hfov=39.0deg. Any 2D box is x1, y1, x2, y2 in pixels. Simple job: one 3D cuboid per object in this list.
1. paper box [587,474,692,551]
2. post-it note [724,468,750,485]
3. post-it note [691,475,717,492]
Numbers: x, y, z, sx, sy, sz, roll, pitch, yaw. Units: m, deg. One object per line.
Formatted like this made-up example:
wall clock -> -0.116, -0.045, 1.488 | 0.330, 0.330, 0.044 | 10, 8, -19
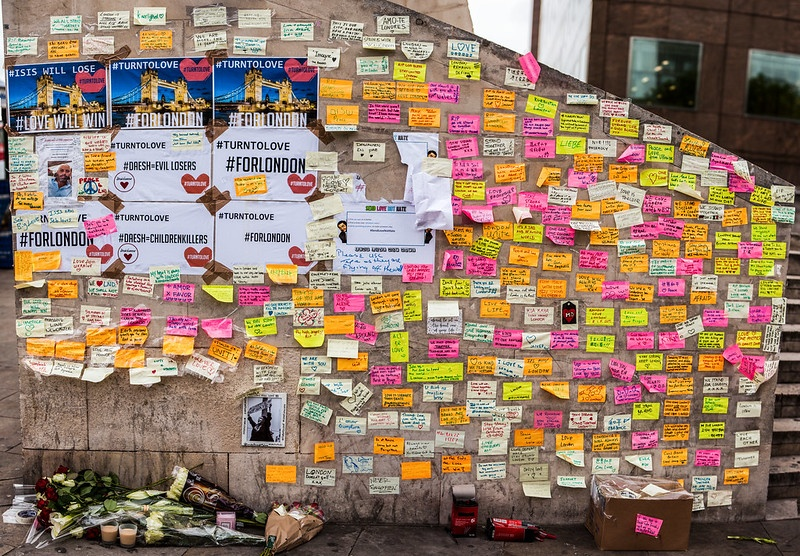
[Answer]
paper box -> 2.476, 2.472, 11.963 | 1.005, 0.585, 0.714 | 1, 1, 3
post-it note -> 3.578, 2.124, 12.088 | 0.195, 0.125, 0.025 | 0, -5, 2
post-it note -> 3.218, 2.195, 12.057 | 0.201, 0.123, 0.011 | -1, -3, -2
